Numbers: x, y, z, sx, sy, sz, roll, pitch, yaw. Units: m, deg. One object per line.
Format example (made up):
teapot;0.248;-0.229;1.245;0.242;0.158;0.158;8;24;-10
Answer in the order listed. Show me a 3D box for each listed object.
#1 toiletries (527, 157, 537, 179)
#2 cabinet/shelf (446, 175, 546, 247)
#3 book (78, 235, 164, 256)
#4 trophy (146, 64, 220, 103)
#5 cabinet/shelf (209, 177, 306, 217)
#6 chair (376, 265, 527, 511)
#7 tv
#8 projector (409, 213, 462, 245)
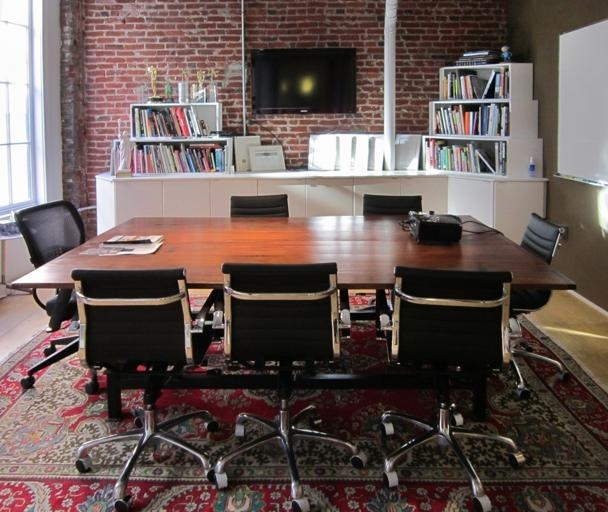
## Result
toiletries;2.522;-1.006;5.466;0.085;0.215;0.124;5;18;24
cabinet/shelf;2.176;-0.299;6.062;0.798;1.264;1.417;-1;12;-9
book;-1.092;-0.065;2.983;0.442;0.026;0.325;4;12;-2
trophy;-1.463;-2.145;6.036;0.981;0.587;0.358;3;15;-2
cabinet/shelf;-0.583;-0.806;5.857;1.302;0.462;0.509;5;15;9
chair;0.657;0.511;2.153;0.636;1.003;0.675;0;16;9
tv;-0.003;-2.274;6.344;1.324;0.798;0.118;-2;16;-1
projector;0.802;-0.194;3.155;0.277;0.176;0.376;4;14;-2
